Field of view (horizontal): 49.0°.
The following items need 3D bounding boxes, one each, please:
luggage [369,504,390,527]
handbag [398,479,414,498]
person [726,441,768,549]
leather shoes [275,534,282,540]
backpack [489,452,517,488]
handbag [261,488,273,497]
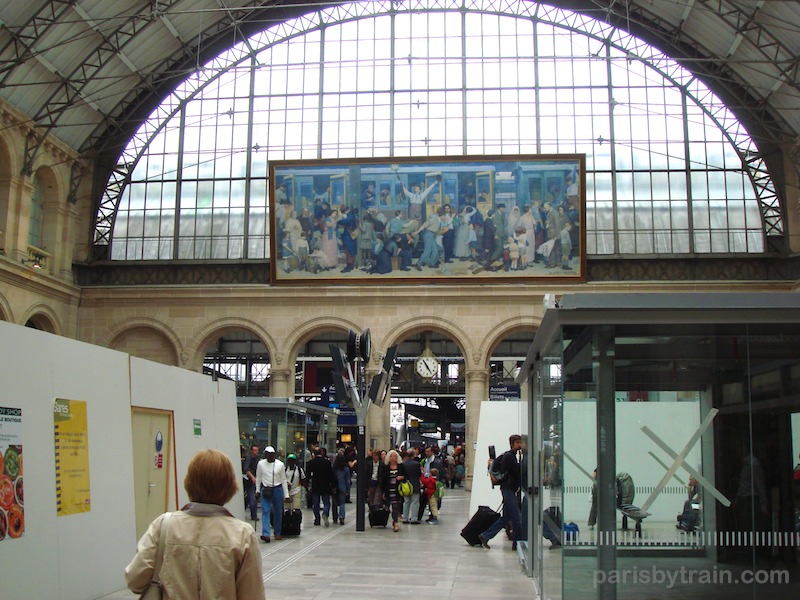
[{"bbox_3d":[-0.450,4.778,19.612,0.534,0.577,0.379,1,-2,0],"label":"luggage"},{"bbox_3d":[0.111,4.123,19.203,0.300,0.357,0.245,-1,-3,-16],"label":"handbag"},{"bbox_3d":[3.660,2.045,9.284,0.397,1.028,0.129,2,-12,-11],"label":"person"},{"bbox_3d":[-2.397,4.676,17.365,0.132,0.088,0.337,1,-15,-11],"label":"leather shoes"},{"bbox_3d":[1.845,2.965,15.435,0.498,0.649,0.365,-2,-13,4],"label":"backpack"},{"bbox_3d":[-2.545,3.680,16.855,0.197,0.171,0.275,13,-14,-38],"label":"handbag"}]
